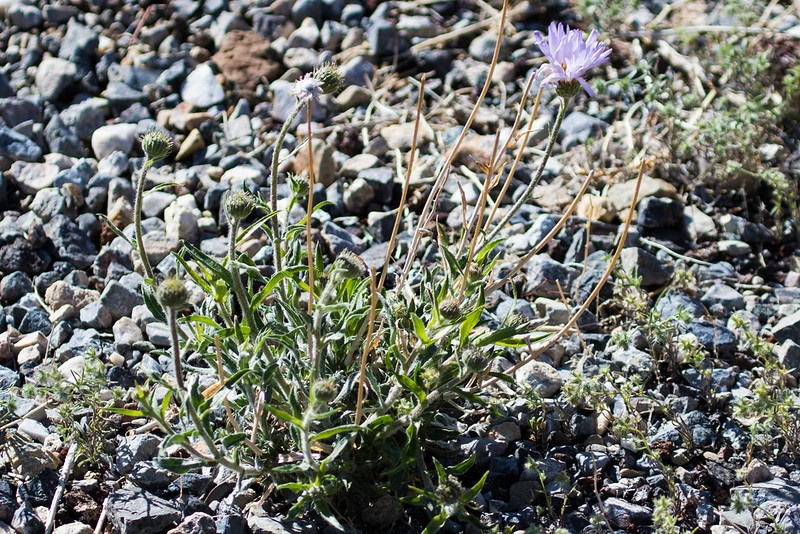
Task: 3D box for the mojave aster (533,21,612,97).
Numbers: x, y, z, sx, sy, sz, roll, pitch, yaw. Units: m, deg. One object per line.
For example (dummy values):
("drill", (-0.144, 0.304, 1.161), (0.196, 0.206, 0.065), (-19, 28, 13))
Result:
("mojave aster", (0.785, -0.970, 4.022), (0.347, 0.366, 0.397), (13, 60, 7))
